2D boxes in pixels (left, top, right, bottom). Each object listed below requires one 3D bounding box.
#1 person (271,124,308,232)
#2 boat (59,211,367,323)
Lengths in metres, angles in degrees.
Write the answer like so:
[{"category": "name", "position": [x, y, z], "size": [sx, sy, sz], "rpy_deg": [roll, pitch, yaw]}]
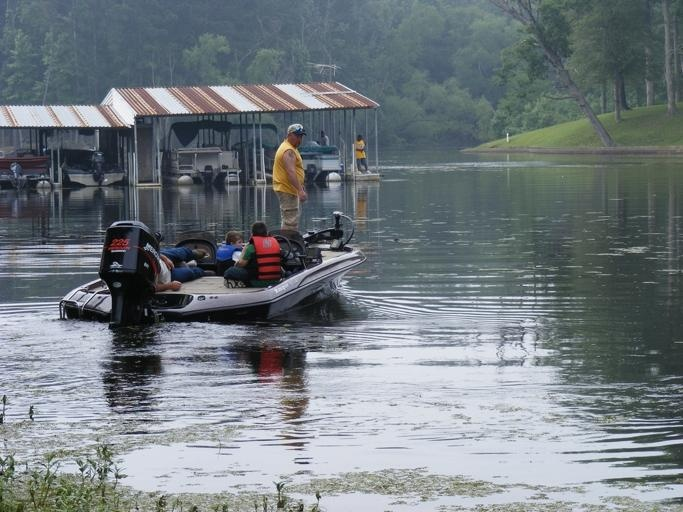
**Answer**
[{"category": "person", "position": [-1.312, -1.762, 42.111], "size": [1.071, 3.279, 1.276], "rpy_deg": [-2, 13, -7]}, {"category": "boat", "position": [-2.741, 0.263, 43.196], "size": [6.188, 2.993, 10.959], "rpy_deg": [-2, 4, 28]}]
